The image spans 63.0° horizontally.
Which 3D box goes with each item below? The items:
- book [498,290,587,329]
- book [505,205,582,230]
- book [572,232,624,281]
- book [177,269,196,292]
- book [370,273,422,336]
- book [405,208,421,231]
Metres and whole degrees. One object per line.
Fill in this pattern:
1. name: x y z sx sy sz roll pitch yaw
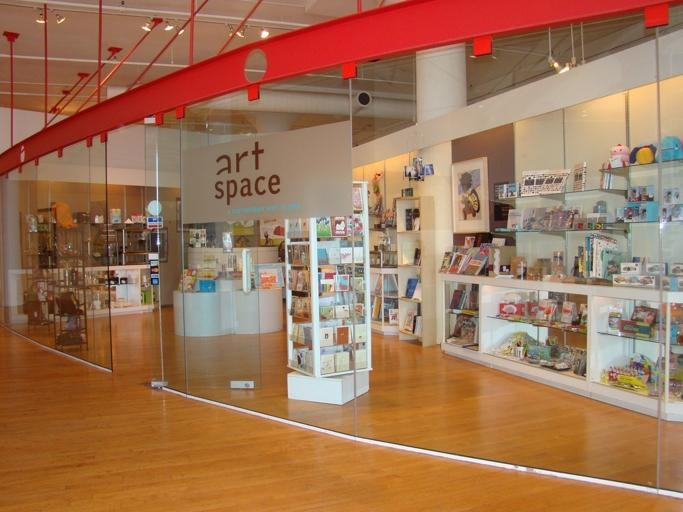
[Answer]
1. book: 2.270 0.595 6.393 0.129 0.477 1.247 -7 10 -26
2. book: 2.171 -0.410 6.138 0.041 0.290 0.811 -9 11 -32
3. book: 2.570 0.015 5.622 0.534 0.680 0.380 -1 5 -38
4. book: -1.777 0.280 6.414 0.205 0.275 0.273 5 -6 -45
5. book: 0.870 0.753 8.594 0.357 0.928 1.004 2 -3 -30
6. book: 1.054 -0.542 8.258 0.286 0.402 0.295 1 1 9
